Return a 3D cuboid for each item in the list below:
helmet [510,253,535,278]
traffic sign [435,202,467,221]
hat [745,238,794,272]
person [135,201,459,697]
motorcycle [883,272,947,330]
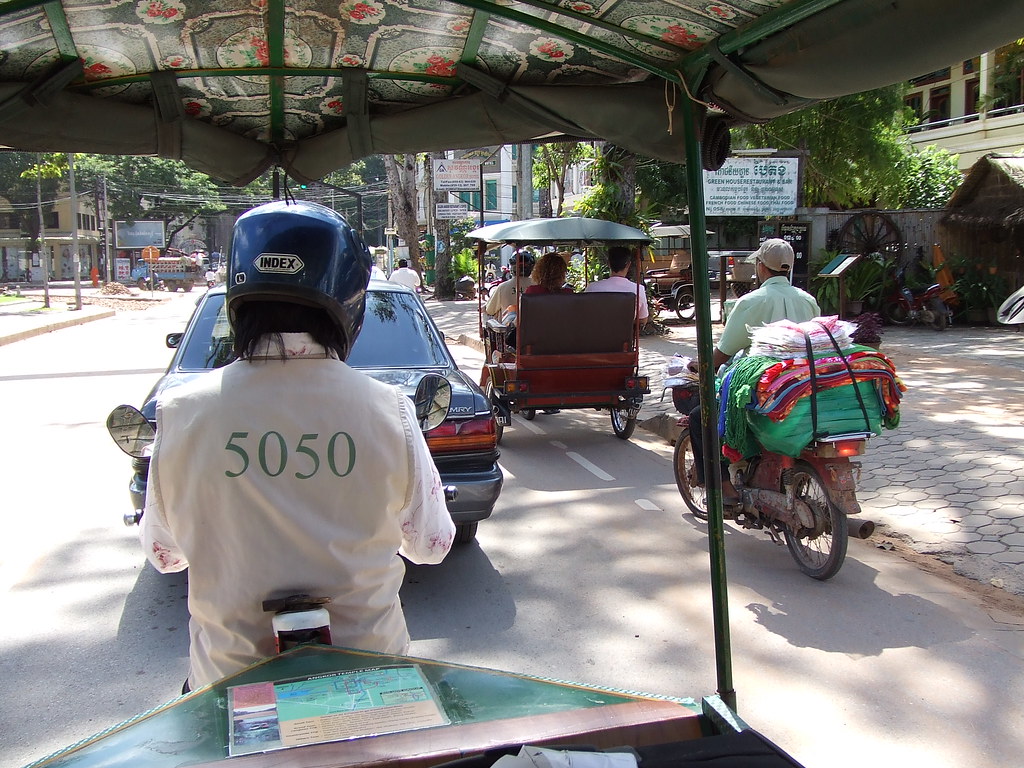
[{"bbox_3d":[0.180,-1.682,11.243,0.279,0.364,0.363,0,-1,-8],"label":"helmet"},{"bbox_3d":[-2.309,-6.638,30.445,1.022,0.617,0.142,-1,3,4],"label":"traffic sign"},{"bbox_3d":[1.903,-0.972,5.908,0.206,0.178,0.302,-1,23,-7],"label":"hat"},{"bbox_3d":[-0.543,0.183,2.061,0.773,1.249,0.339,7,8,7],"label":"person"},{"bbox_3d":[8.970,-1.831,17.612,0.705,1.038,1.474,-18,23,-22],"label":"motorcycle"}]
